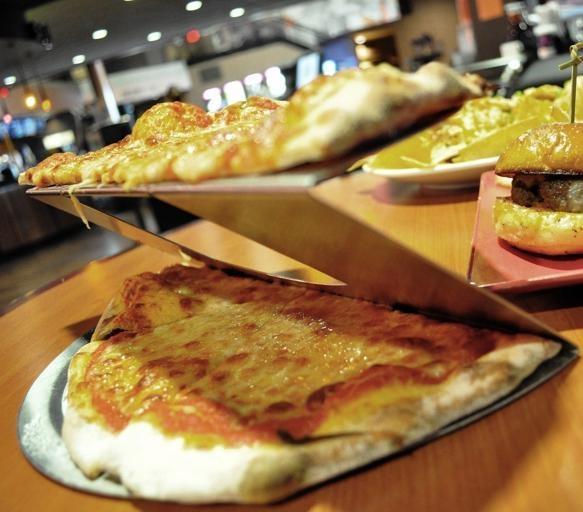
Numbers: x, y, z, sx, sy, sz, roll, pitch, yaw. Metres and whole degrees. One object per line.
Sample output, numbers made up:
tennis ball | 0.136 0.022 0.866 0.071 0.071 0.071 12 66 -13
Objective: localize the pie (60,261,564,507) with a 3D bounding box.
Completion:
pie | -0.013 0.099 0.402 0.183 0.030 0.298 -21 11 -42
